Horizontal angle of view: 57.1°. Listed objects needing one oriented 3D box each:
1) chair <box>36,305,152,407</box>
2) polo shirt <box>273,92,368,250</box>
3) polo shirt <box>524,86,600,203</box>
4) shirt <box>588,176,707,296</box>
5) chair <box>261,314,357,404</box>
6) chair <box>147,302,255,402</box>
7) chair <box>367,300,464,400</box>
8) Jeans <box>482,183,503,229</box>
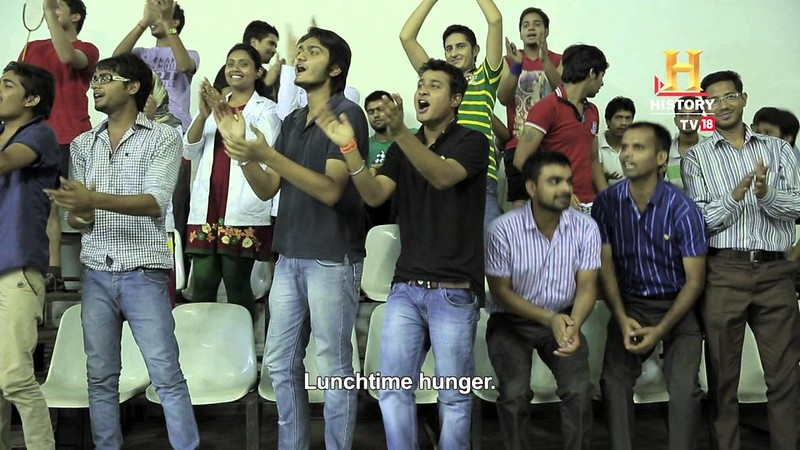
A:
[{"bbox_3d":[-2.246,0.983,5.533,0.872,0.602,0.733,1,-3,-8],"label":"chair"},{"bbox_3d":[-0.559,-0.318,4.836,0.653,1.092,0.236,1,0,16],"label":"polo shirt"},{"bbox_3d":[1.312,-0.618,5.778,0.761,0.743,0.253,0,1,-44],"label":"polo shirt"},{"bbox_3d":[1.733,0.107,5.131,0.886,0.758,0.456,1,6,26],"label":"shirt"},{"bbox_3d":[-0.745,0.960,5.293,0.674,0.738,0.663,1,-10,4],"label":"chair"},{"bbox_3d":[-1.432,0.906,5.626,0.855,0.694,0.683,-1,-9,-3],"label":"chair"},{"bbox_3d":[0.024,0.935,5.436,0.738,0.745,0.647,1,-5,-5],"label":"chair"},{"bbox_3d":[0.662,-0.132,5.319,0.187,0.306,0.219,1,-41,6],"label":"Jeans"}]
